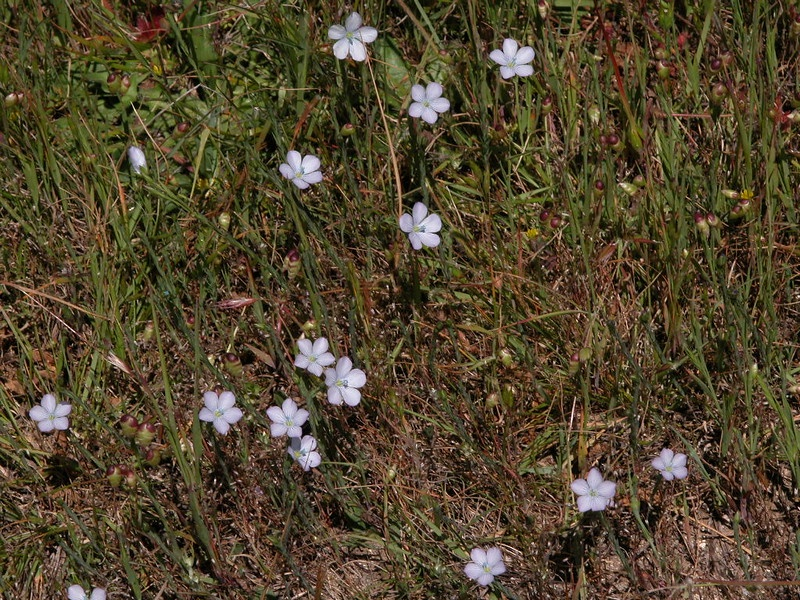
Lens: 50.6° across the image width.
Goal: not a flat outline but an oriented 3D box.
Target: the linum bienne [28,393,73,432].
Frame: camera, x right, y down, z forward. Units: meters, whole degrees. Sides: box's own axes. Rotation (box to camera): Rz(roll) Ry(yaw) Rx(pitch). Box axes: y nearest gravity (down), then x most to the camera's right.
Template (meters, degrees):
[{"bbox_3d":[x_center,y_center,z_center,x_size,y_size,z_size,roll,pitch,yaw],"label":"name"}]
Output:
[{"bbox_3d":[-1.409,0.465,3.408,0.142,0.051,0.167,-34,82,-15],"label":"linum bienne"}]

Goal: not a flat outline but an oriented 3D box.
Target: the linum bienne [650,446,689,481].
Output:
[{"bbox_3d":[1.059,0.644,3.312,0.128,0.089,0.110,4,60,15],"label":"linum bienne"}]

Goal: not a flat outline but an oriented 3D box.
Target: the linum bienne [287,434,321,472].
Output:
[{"bbox_3d":[-0.381,0.617,3.394,0.108,0.061,0.148,-12,69,-25],"label":"linum bienne"}]

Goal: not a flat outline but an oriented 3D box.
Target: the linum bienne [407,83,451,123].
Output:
[{"bbox_3d":[0.117,-0.836,3.620,0.177,0.234,0.056,-7,53,21],"label":"linum bienne"}]

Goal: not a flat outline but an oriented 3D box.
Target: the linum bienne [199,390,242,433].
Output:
[{"bbox_3d":[-0.703,0.451,3.314,0.142,0.063,0.205,4,45,-24],"label":"linum bienne"}]

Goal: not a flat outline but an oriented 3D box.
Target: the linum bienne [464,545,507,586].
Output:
[{"bbox_3d":[0.330,1.026,3.268,0.150,0.059,0.122,-7,60,9],"label":"linum bienne"}]

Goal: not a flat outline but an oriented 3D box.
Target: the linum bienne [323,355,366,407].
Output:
[{"bbox_3d":[-0.234,0.318,3.339,0.038,0.166,0.200,-5,76,19],"label":"linum bienne"}]

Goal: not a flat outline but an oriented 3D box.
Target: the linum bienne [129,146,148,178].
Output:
[{"bbox_3d":[-1.131,-0.580,3.641,0.066,0.044,0.153,1,71,-39],"label":"linum bienne"}]

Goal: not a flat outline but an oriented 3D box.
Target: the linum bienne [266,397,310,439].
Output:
[{"bbox_3d":[-0.433,0.462,3.348,0.150,0.233,0.047,-11,35,-2],"label":"linum bienne"}]
